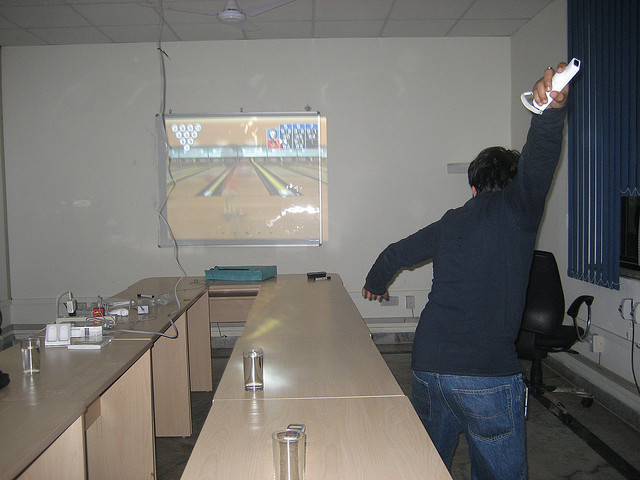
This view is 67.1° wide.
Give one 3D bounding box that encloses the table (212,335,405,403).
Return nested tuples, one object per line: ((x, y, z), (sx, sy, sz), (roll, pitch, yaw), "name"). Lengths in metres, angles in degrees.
((-0.061, 0.641, 2.548), (0.939, 0.018, 1.026), (1, 6, 7), "table")

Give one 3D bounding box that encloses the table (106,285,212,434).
((-1.076, 0.807, 3.232), (0.404, 0.655, 1.046), (1, 3, -1), "table")

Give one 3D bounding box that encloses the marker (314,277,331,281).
((0.031, 0.354, 4.393), (0.147, 0.012, 0.041), (-6, 14, -20), "marker")

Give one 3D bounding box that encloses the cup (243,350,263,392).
((-0.301, 0.601, 2.219), (0.083, 0.180, 0.074), (-4, 14, -10), "cup")

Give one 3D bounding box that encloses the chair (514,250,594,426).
((1.680, 0.754, 3.822), (0.764, 1.121, 0.704), (-6, -9, 25), "chair")

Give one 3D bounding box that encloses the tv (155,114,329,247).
((-0.833, -0.695, 5.185), (1.389, 1.034, 0.021), (0, 2, -2), "tv")

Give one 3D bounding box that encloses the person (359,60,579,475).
((0.657, 0.185, 2.173), (0.741, 1.780, 0.486), (5, 15, 25), "person")

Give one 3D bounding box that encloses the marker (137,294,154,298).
((-1.307, 0.424, 3.626), (0.172, 0.025, 0.021), (-2, -26, 40), "marker")

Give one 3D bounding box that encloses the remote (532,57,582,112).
((0.870, -0.564, 1.793), (0.060, 0.174, 0.198), (-7, 14, -22), "remote")

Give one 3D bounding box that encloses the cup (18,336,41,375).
((-1.417, 0.558, 2.374), (0.081, 0.167, 0.176), (-9, 15, -29), "cup")
